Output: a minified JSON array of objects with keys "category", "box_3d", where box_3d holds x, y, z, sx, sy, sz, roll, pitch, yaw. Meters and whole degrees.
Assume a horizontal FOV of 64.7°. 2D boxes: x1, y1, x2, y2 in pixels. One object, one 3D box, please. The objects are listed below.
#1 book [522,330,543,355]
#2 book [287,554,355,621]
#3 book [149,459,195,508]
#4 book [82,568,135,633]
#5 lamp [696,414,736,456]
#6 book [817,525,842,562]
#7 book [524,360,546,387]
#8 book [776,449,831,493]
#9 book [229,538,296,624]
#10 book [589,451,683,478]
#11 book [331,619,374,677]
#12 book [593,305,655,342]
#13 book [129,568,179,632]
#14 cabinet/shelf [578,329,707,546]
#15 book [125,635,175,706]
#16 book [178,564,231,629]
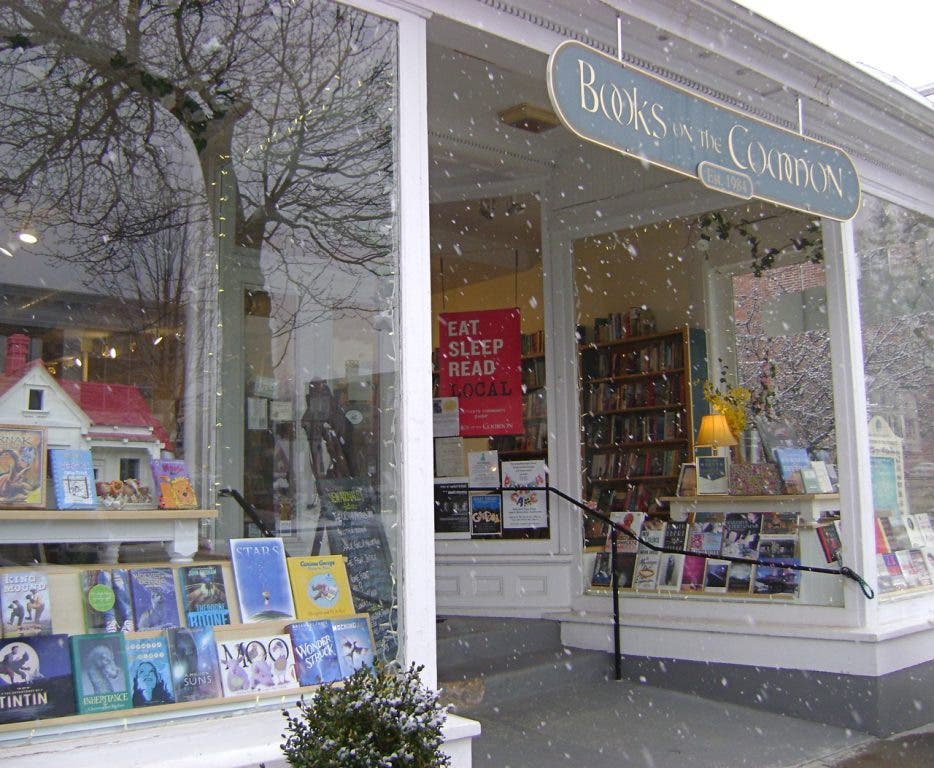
[{"category":"book","box_3d":[0.717,-0.418,7.935,0.211,0.306,0.302,0,-3,-20]},{"category":"book","box_3d":[-0.569,0.799,2.872,0.232,0.269,0.028,6,-45,-30]},{"category":"book","box_3d":[-1.094,0.367,2.713,0.102,0.198,0.137,-21,-19,36]},{"category":"book","box_3d":[-1.208,0.726,2.537,0.185,0.206,0.180,-6,-9,5]},{"category":"lamp","box_3d":[2.224,0.437,6.643,0.378,0.402,0.371,1,-5,-43]},{"category":"book","box_3d":[2.474,1.089,5.029,0.148,0.251,0.262,-1,-7,26]},{"category":"book","box_3d":[0.707,-0.105,7.717,0.214,0.317,0.300,-3,3,-8]},{"category":"book","box_3d":[2.583,0.652,5.665,0.354,0.367,0.088,3,-28,-21]},{"category":"book","box_3d":[-0.772,0.742,2.801,0.206,0.381,0.041,-2,21,1]},{"category":"book","box_3d":[1.767,0.830,7.647,0.924,0.299,0.249,0,-6,17]},{"category":"book","box_3d":[-0.444,1.020,2.847,0.165,0.239,0.024,7,-46,-26]},{"category":"book","box_3d":[1.703,-0.637,8.029,0.618,0.384,0.622,-7,0,32]},{"category":"book","box_3d":[-1.102,0.759,2.565,0.026,0.261,0.180,-26,-25,37]},{"category":"cabinet/shelf","box_3d":[1.903,0.291,8.024,1.069,0.308,2.105,-10,34,18]},{"category":"book","box_3d":[-1.076,0.962,2.489,0.150,0.286,0.025,-1,19,-13]},{"category":"book","box_3d":[-0.954,0.765,2.671,0.163,0.198,0.099,7,-8,-43]}]
